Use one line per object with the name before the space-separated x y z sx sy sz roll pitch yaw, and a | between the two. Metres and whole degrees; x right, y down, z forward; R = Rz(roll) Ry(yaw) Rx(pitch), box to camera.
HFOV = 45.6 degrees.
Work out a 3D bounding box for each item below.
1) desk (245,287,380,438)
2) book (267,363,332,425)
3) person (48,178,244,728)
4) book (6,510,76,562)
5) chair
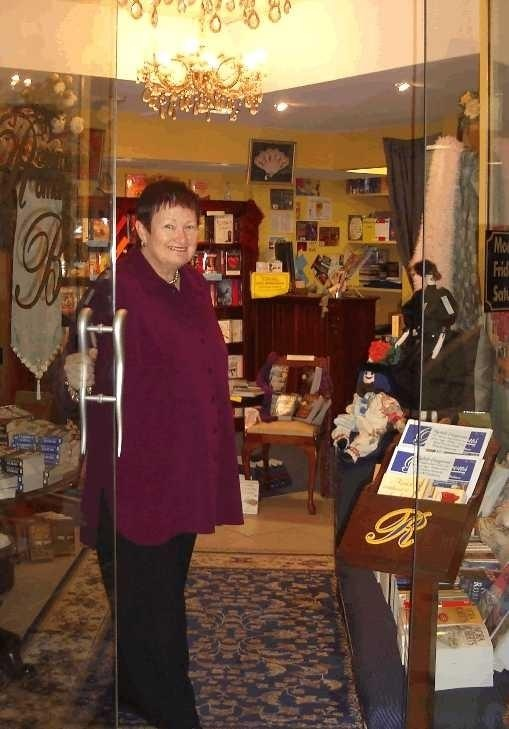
desk | 0.451 -0.057 4.668 0.475 1.216 1.199 -3 5 -45
book | 0.374 0.256 4.143 0.373 0.393 0.115 -2 -28 21
person | -0.273 0.263 1.626 0.282 1.544 0.541 3 3 31
book | -0.513 0.428 1.455 0.142 0.113 0.039 -1 4 -15
chair | 0.253 0.397 4.470 0.605 0.999 1.542 1 3 5
